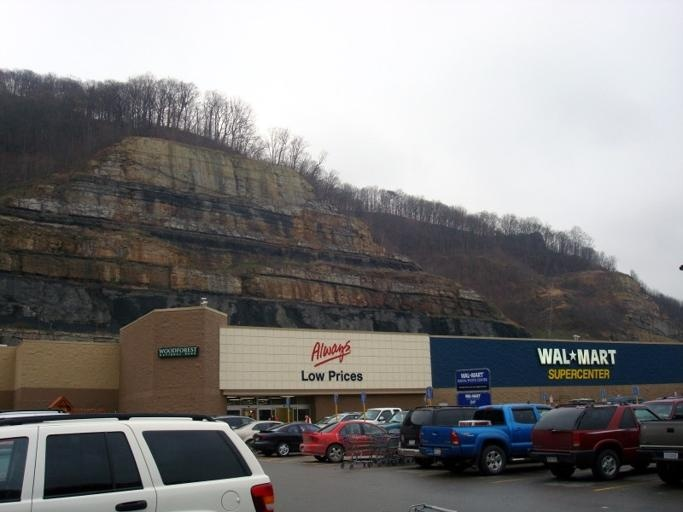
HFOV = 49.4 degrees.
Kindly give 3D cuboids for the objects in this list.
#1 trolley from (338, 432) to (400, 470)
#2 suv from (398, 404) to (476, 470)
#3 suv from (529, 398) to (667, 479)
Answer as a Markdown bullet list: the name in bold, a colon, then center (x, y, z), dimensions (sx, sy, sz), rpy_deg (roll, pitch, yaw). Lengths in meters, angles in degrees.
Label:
- **trolley**: center (1.054, 7.058, 26.553), dimensions (1.975, 1.086, 1.103), rpy_deg (9, -17, -30)
- **suv**: center (2.773, 5.642, 23.763), dimensions (2.845, 1.237, 1.498), rpy_deg (1, -5, -41)
- **suv**: center (7.017, 4.883, 20.190), dimensions (3.237, 1.420, 1.687), rpy_deg (-1, -5, -33)
